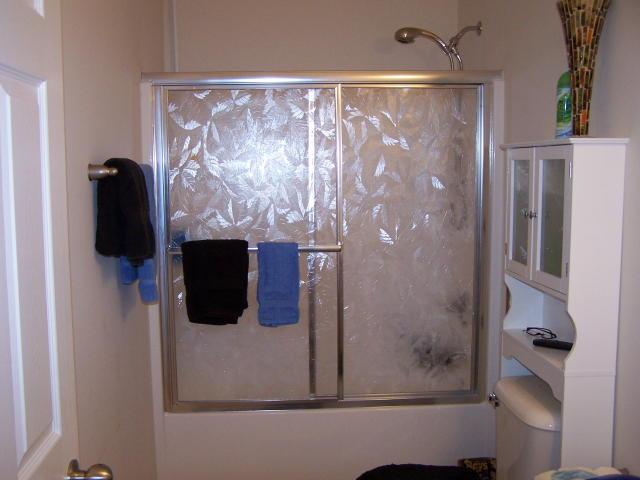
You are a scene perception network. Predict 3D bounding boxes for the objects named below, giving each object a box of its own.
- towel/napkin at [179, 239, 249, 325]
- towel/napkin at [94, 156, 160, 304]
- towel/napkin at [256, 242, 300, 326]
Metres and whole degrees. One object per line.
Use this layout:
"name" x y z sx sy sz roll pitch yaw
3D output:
"towel/napkin" -0.525 0.214 2.767 0.318 0.461 0.053 0 15 -7
"towel/napkin" -0.842 -0.027 2.370 0.241 0.662 0.385 -5 8 -18
"towel/napkin" -0.212 0.230 2.783 0.202 0.433 0.097 1 1 -3
